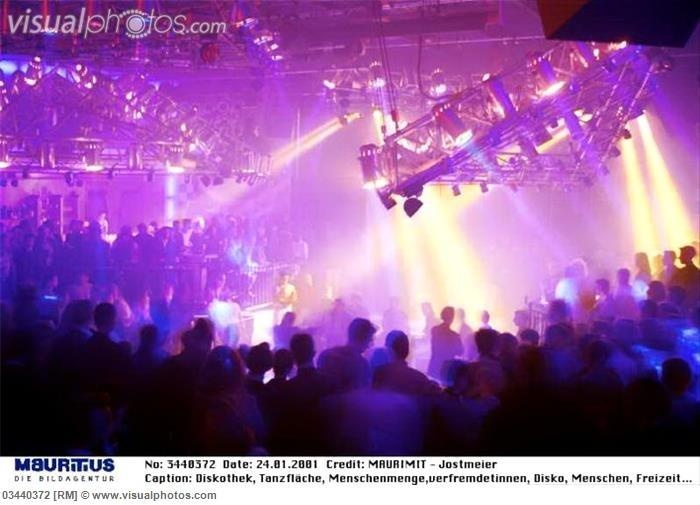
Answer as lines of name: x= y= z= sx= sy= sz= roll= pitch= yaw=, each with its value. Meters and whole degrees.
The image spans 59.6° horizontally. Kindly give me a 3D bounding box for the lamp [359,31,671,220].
lamp: x=1.989 y=-2.004 z=7.762 sx=3.577 sy=1.125 sz=2.265 roll=-22 pitch=-34 yaw=-17
